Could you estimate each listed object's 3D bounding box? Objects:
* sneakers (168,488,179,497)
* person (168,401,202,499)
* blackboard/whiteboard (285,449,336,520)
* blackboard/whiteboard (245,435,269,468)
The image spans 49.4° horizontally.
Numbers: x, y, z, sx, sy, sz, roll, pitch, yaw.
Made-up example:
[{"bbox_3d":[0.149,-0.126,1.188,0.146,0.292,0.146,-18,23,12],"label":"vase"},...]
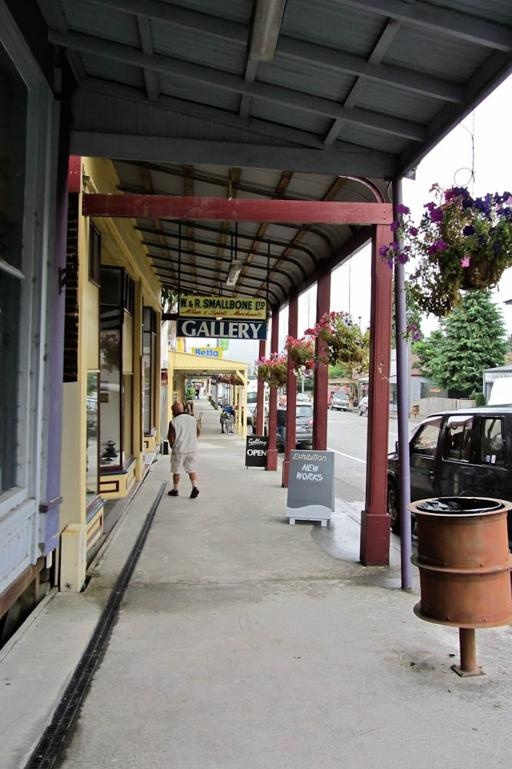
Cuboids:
[{"bbox_3d":[-1.510,1.967,10.093,0.162,0.121,0.293,2,-4,-10],"label":"sneakers"},{"bbox_3d":[-1.352,1.209,10.445,0.571,1.716,1.316,1,-4,-6],"label":"person"},{"bbox_3d":[0.792,1.505,8.198,0.670,1.009,0.314,1,-4,2],"label":"blackboard/whiteboard"},{"bbox_3d":[0.038,1.751,14.330,0.693,1.097,0.101,2,-14,-4],"label":"blackboard/whiteboard"}]
